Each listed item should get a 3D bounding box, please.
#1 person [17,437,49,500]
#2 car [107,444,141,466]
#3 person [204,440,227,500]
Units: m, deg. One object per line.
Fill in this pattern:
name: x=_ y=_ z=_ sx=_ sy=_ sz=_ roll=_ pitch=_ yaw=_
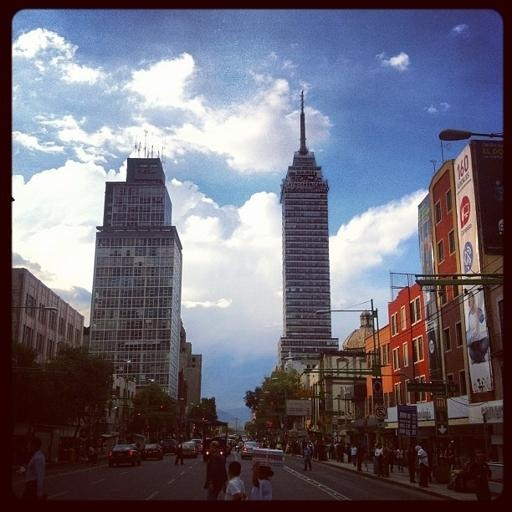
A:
person: x=-4.688 y=4.486 z=11.433 sx=0.442 sy=1.233 sz=2.913 roll=5 pitch=-20 yaw=-22
car: x=-9.538 y=14.449 z=38.752 sx=1.959 sy=1.517 sz=2.291 roll=0 pitch=-18 yaw=-8
person: x=-0.876 y=4.697 z=11.688 sx=0.454 sy=1.257 sz=1.737 roll=-1 pitch=-18 yaw=-5
